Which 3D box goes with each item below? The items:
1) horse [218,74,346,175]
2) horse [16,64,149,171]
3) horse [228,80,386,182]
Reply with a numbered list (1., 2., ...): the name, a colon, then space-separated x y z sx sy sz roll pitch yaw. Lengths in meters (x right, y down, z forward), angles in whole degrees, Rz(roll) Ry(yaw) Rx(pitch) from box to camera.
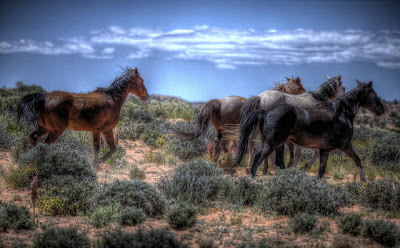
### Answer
1. horse: 3.775 0.095 12.939 5.552 3.542 1.281 -3 2 -21
2. horse: -4.504 -0.185 12.727 5.095 3.615 1.275 -5 11 -41
3. horse: 4.053 0.233 11.885 5.707 3.460 1.270 -1 1 -7
